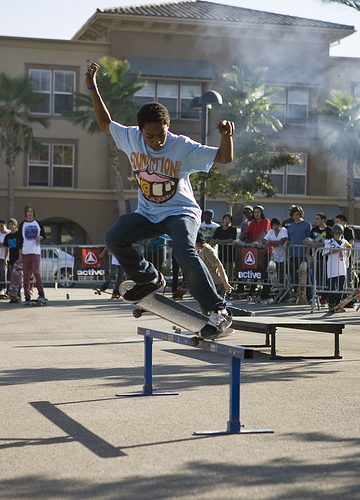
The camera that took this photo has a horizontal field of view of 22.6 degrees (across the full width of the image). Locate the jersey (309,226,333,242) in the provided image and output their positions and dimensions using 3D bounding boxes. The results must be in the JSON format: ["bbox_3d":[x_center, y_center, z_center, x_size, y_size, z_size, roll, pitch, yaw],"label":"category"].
[{"bbox_3d":[2.486,-0.288,15.899,0.320,0.252,0.106,0,0,31],"label":"jersey"}]

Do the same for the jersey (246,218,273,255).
[{"bbox_3d":[1.506,-0.274,17.178,0.367,0.680,0.364,-4,6,-32],"label":"jersey"}]

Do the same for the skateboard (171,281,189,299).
[{"bbox_3d":[0.013,0.779,17.346,0.222,0.112,0.802,26,-14,4],"label":"skateboard"}]

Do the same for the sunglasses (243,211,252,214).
[{"bbox_3d":[1.299,-0.749,17.938,0.127,0.036,0.248,1,-1,-37],"label":"sunglasses"}]

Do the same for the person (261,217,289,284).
[{"bbox_3d":[1.766,-0.003,16.459,0.371,0.846,0.648,1,0,-18],"label":"person"}]

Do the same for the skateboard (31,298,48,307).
[{"bbox_3d":[-2.533,0.930,16.194,0.281,0.109,0.544,1,-1,-10],"label":"skateboard"}]

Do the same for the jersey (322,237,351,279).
[{"bbox_3d":[2.565,0.124,14.800,0.362,0.654,0.377,-7,8,-25],"label":"jersey"}]

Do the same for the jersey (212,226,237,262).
[{"bbox_3d":[0.881,-0.157,17.734,0.414,0.721,0.386,-4,8,-27],"label":"jersey"}]

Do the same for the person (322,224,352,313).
[{"bbox_3d":[2.554,0.300,14.760,0.428,0.989,0.714,0,0,10],"label":"person"}]

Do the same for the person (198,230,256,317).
[{"bbox_3d":[0.733,0.288,13.322,0.391,0.690,1.177,-20,44,-15],"label":"person"}]

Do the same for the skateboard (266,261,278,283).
[{"bbox_3d":[1.664,0.416,16.450,0.136,0.441,0.192,-5,16,-17],"label":"skateboard"}]

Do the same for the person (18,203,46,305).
[{"bbox_3d":[-2.656,0.060,16.199,0.509,1.510,2.169,1,0,-10],"label":"person"}]

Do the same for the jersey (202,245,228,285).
[{"bbox_3d":[0.436,0.193,12.586,0.280,0.507,0.293,-2,9,-34],"label":"jersey"}]

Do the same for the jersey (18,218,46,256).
[{"bbox_3d":[-2.597,-0.248,15.677,0.460,0.602,0.317,-3,27,-17],"label":"jersey"}]

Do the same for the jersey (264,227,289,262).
[{"bbox_3d":[1.770,-0.098,16.446,0.214,0.443,0.666,1,0,-30],"label":"jersey"}]

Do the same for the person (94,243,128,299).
[{"bbox_3d":[-1.172,0.379,14.761,0.364,0.336,1.107,-15,7,-2],"label":"person"}]

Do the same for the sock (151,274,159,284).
[{"bbox_3d":[-0.197,0.222,6.930,0.017,0.046,0.035,21,14,-44],"label":"sock"}]

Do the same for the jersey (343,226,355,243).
[{"bbox_3d":[2.940,-0.278,15.719,0.316,0.218,0.174,0,0,17],"label":"jersey"}]

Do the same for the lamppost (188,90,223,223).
[{"bbox_3d":[0.613,-2.295,20.516,0.585,3.592,0.665,-1,11,-11],"label":"lamppost"}]

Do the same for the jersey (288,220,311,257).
[{"bbox_3d":[2.123,-0.206,16.101,0.402,0.457,0.555,0,0,6],"label":"jersey"}]

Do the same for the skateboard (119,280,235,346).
[{"bbox_3d":[-0.069,0.487,6.792,0.798,0.116,0.187,21,38,6],"label":"skateboard"}]

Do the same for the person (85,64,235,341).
[{"bbox_3d":[-0.138,-0.397,6.732,1.095,1.616,0.988,0,0,-6],"label":"person"}]

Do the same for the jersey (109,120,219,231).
[{"bbox_3d":[-0.122,-0.549,6.873,1.178,0.742,0.352,14,26,33],"label":"jersey"}]

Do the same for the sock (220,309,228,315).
[{"bbox_3d":[0.310,0.445,6.522,0.043,0.017,0.060,4,2,14],"label":"sock"}]
